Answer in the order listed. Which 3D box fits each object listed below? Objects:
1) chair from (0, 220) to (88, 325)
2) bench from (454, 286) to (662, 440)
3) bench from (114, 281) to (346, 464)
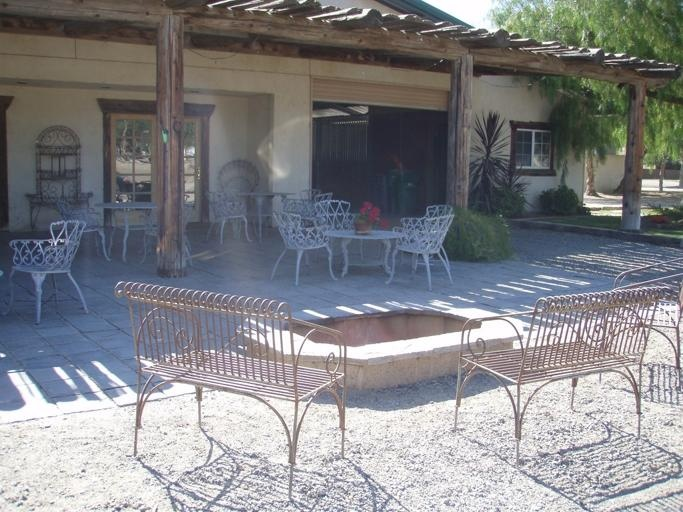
[{"bbox_3d":[-3.271,0.189,7.075,0.890,1.460,0.895,6,5,38],"label":"chair"},{"bbox_3d":[1.664,0.670,4.209,0.923,0.834,0.722,-2,-7,-5],"label":"bench"},{"bbox_3d":[-0.685,0.653,3.936,1.164,1.116,0.820,5,12,27],"label":"bench"}]
